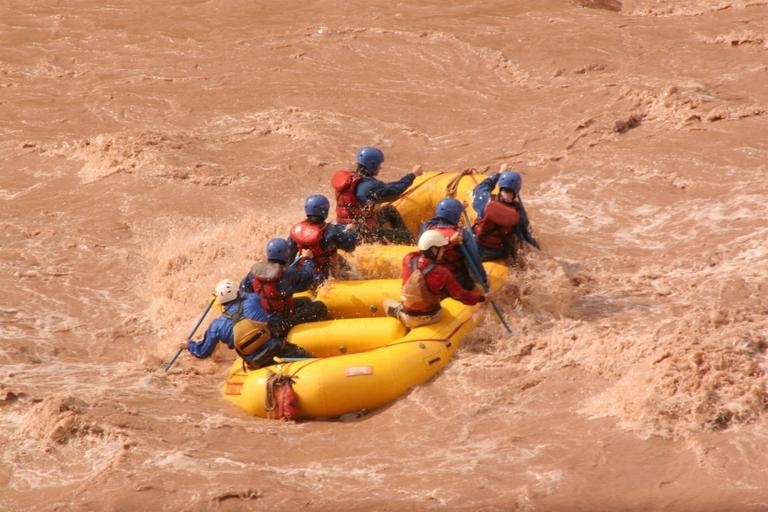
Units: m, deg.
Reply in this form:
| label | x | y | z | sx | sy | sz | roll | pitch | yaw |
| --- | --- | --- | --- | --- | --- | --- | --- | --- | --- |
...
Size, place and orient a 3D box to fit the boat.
| label | x | y | z | sx | sy | sz | roll | pitch | yaw |
| --- | --- | --- | --- | --- | --- | --- | --- | --- | --- |
| boat | 0.164 | 1.052 | 17.353 | 3.516 | 0.828 | 5.050 | 19 | 43 | 36 |

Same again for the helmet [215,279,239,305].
| label | x | y | z | sx | sy | sz | roll | pitch | yaw |
| --- | --- | --- | --- | --- | --- | --- | --- | --- | --- |
| helmet | -2.521 | 0.575 | 16.763 | 0.492 | 0.319 | 0.445 | -3 | 23 | 8 |

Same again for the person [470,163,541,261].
| label | x | y | z | sx | sy | sz | roll | pitch | yaw |
| --- | --- | --- | --- | --- | --- | --- | --- | --- | --- |
| person | 2.112 | -0.800 | 18.230 | 1.526 | 0.661 | 1.733 | 6 | 40 | -16 |

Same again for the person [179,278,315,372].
| label | x | y | z | sx | sy | sz | roll | pitch | yaw |
| --- | --- | --- | --- | --- | --- | --- | --- | --- | --- |
| person | -2.155 | 1.168 | 17.049 | 1.792 | 1.045 | 1.503 | 39 | -18 | -33 |
